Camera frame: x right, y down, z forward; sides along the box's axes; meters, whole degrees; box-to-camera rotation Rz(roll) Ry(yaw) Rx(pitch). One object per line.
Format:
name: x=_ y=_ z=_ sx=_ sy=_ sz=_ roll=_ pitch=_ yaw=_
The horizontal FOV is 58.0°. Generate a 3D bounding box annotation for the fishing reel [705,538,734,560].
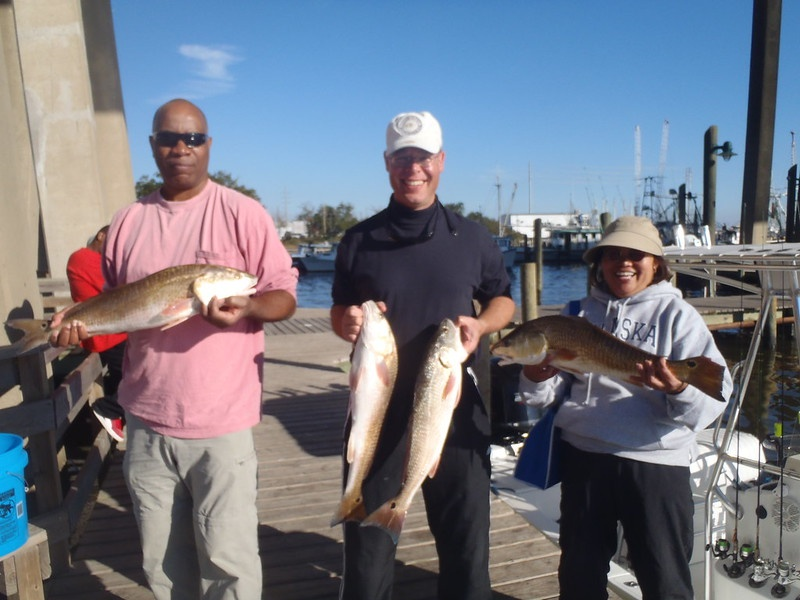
fishing reel: x=1.917 y=1.501 z=4.355 sx=0.126 sy=0.078 sz=0.187 roll=8 pitch=-16 yaw=-19

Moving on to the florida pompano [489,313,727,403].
florida pompano: x=1.136 y=0.313 z=4.018 sx=1.212 sy=0.423 sz=0.304 roll=2 pitch=7 yaw=19

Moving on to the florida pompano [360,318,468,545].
florida pompano: x=0.100 y=0.724 z=3.918 sx=0.548 sy=1.208 sz=0.086 roll=-2 pitch=6 yaw=-16

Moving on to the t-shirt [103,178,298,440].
t-shirt: x=-1.224 y=0.043 z=4.193 sx=1.113 sy=1.442 sz=0.640 roll=3 pitch=10 yaw=1

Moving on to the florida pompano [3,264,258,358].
florida pompano: x=-1.480 y=0.049 z=4.063 sx=1.322 sy=0.491 sz=0.251 roll=0 pitch=6 yaw=7
